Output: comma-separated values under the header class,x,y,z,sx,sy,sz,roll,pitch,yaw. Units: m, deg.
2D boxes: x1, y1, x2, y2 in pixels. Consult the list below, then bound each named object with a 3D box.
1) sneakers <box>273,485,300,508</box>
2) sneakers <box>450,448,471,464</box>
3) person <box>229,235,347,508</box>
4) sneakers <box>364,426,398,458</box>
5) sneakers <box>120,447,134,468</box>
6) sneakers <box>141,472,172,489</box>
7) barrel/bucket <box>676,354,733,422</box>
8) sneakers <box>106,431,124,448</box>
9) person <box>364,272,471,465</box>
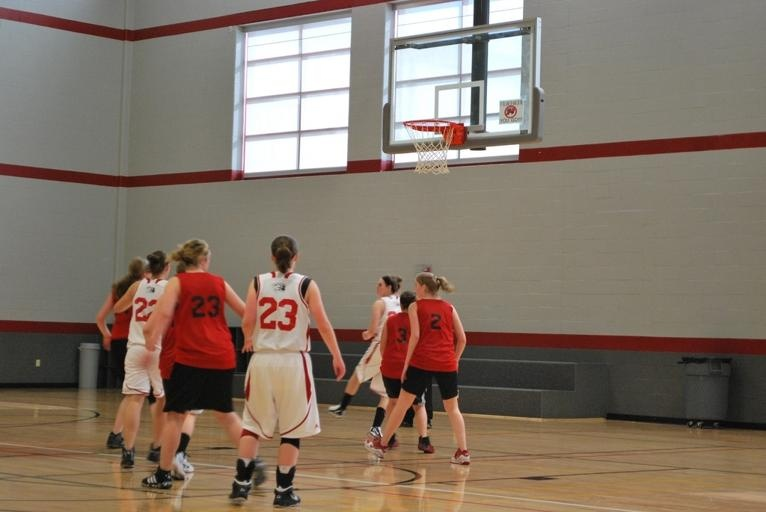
class,x,y,z,sx,sy,sz,roll,pitch,yaw
sneakers,-0.864,2.146,6.425,0.112,0.212,0.319,-1,-5,38
sneakers,0.919,2.364,8.483,0.133,0.150,0.314,3,-8,-13
person,-0.902,1.025,6.460,0.921,2.418,0.396,1,-3,-4
sneakers,-0.076,2.334,8.960,0.203,0.255,0.564,23,-13,25
sneakers,-2.777,2.176,7.750,0.133,0.212,0.125,2,-4,-22
sneakers,-2.203,2.131,6.849,0.356,0.156,0.129,2,-10,20
barrel/bucket,5.789,2.394,13.055,1.000,1.633,1.067,0,-1,0
sneakers,-3.387,2.301,8.990,0.110,0.135,0.323,1,-4,2
person,0.540,1.309,8.450,0.776,2.227,0.821,3,-4,-32
